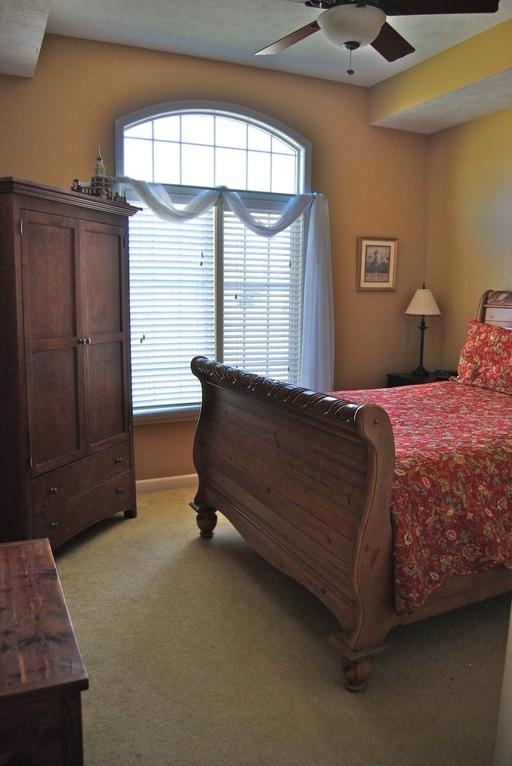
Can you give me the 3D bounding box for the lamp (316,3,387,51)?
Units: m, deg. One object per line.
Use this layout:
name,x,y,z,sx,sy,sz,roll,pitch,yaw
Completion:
lamp,0.373,-1.411,2.393,0.263,0.080,0.190,2,8,12

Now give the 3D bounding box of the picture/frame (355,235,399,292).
picture/frame,0.930,-0.938,4.710,0.440,0.480,0.032,-4,8,-30
